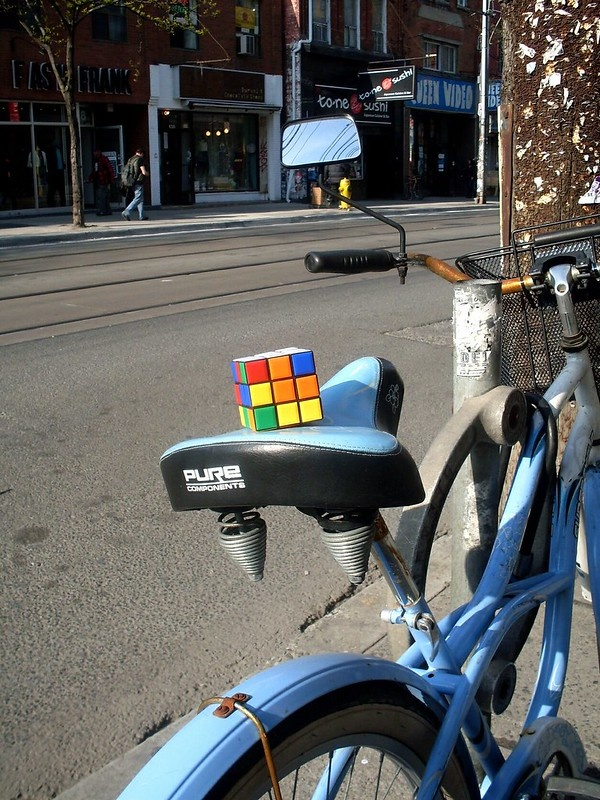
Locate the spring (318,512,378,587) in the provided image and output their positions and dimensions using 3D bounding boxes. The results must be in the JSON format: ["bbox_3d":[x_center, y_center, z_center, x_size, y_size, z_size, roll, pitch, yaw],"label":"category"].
[{"bbox_3d":[0.059,0.170,0.781,0.073,0.092,0.081,-7,3,-44],"label":"spring"}]

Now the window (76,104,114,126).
[{"bbox_3d":[-8.071,-11.365,25.345,1.495,0.825,0.769,-9,15,-30],"label":"window"}]

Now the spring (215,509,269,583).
[{"bbox_3d":[-0.065,0.182,0.794,0.056,0.094,0.054,-19,2,-41],"label":"spring"}]

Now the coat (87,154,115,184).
[{"bbox_3d":[-7.005,-8.232,22.519,0.653,1.062,0.620,-7,14,-26],"label":"coat"}]

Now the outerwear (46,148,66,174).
[{"bbox_3d":[-9.211,-9.060,23.920,0.464,0.962,0.724,6,25,14],"label":"outerwear"}]

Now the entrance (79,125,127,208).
[{"bbox_3d":[-7.985,-9.991,25.749,1.491,4.547,1.426,13,26,26],"label":"entrance"}]

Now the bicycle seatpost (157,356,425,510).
[{"bbox_3d":[-0.040,0.108,0.842,0.320,0.108,0.309,4,-13,-30],"label":"bicycle seatpost"}]

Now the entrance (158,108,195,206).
[{"bbox_3d":[-5.276,-10.416,27.334,0.557,3.668,1.605,-7,21,-22],"label":"entrance"}]
